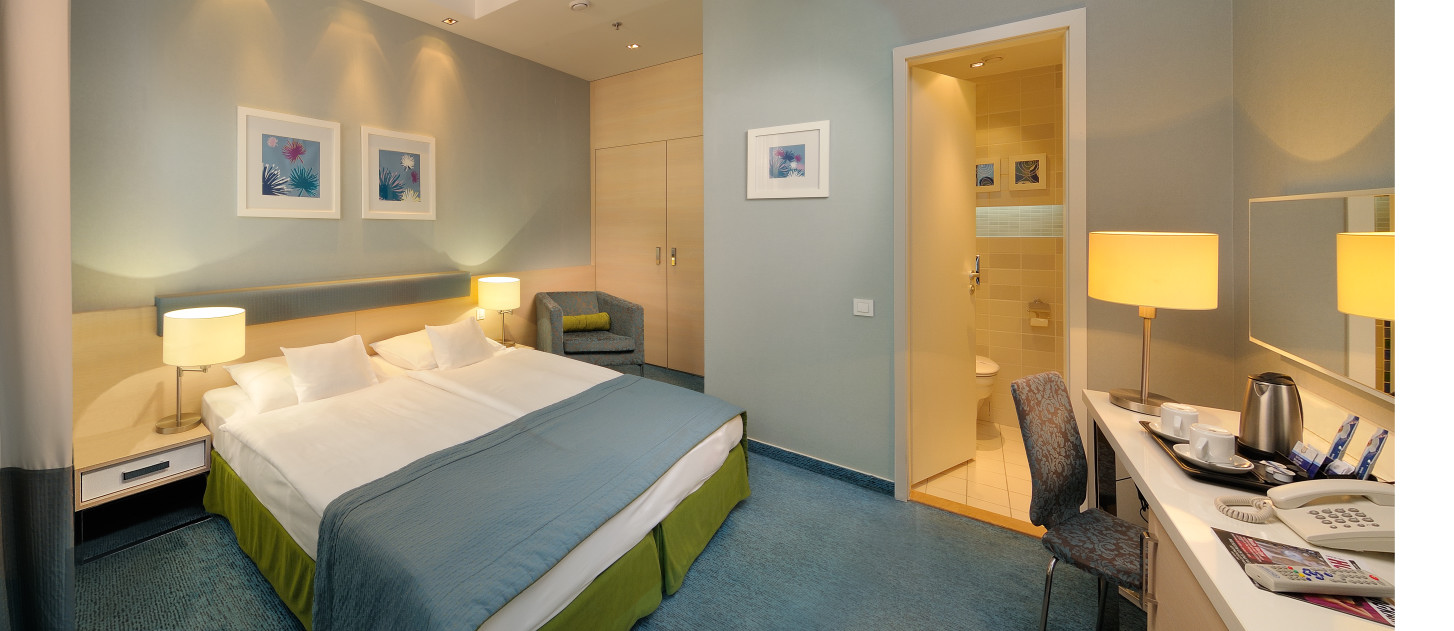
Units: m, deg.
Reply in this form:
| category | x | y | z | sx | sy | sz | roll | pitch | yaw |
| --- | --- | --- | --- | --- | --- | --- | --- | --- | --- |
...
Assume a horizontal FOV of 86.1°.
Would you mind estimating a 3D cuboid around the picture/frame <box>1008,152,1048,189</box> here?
| category | x | y | z | sx | sy | sz | roll | pitch | yaw |
| --- | --- | --- | --- | --- | --- | --- | --- | --- | --- |
| picture/frame | 3.063 | -1.467 | 7.883 | 0.485 | 0.437 | 0.071 | 1 | 1 | 27 |

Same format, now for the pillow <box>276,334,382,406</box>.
| category | x | y | z | sx | sy | sz | roll | pitch | yaw |
| --- | --- | --- | --- | --- | --- | --- | --- | --- | --- |
| pillow | -3.730 | 0.525 | 7.320 | 0.750 | 0.597 | 0.231 | -20 | -10 | -48 |

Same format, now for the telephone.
| category | x | y | z | sx | sy | sz | roll | pitch | yaw |
| --- | --- | --- | --- | --- | --- | --- | --- | --- | --- |
| telephone | 4.191 | 1.371 | 5.377 | 0.792 | 0.220 | 0.523 | 1 | 21 | 9 |

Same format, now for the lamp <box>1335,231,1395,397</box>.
| category | x | y | z | sx | sy | sz | roll | pitch | yaw |
| --- | --- | --- | --- | --- | --- | --- | --- | --- | --- |
| lamp | 4.472 | -0.263 | 5.476 | 0.302 | 0.636 | 0.156 | 3 | 11 | 41 |

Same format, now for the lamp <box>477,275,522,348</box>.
| category | x | y | z | sx | sy | sz | roll | pitch | yaw |
| --- | --- | --- | --- | --- | --- | --- | --- | --- | --- |
| lamp | -2.557 | -0.023 | 8.762 | 0.553 | 0.700 | 0.485 | -6 | 5 | -7 |

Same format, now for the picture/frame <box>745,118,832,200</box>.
| category | x | y | z | sx | sy | sz | roll | pitch | yaw |
| --- | --- | --- | --- | --- | --- | --- | --- | --- | --- |
| picture/frame | 0.573 | -1.460 | 7.421 | 0.935 | 0.648 | 0.046 | 7 | 12 | 42 |

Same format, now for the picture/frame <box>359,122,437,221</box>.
| category | x | y | z | sx | sy | sz | roll | pitch | yaw |
| --- | --- | --- | --- | --- | --- | --- | --- | --- | --- |
| picture/frame | -3.467 | -1.478 | 8.177 | 0.795 | 0.955 | 0.109 | -10 | 10 | -40 |

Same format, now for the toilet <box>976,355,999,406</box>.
| category | x | y | z | sx | sy | sz | roll | pitch | yaw |
| --- | --- | --- | --- | --- | --- | --- | --- | --- | --- |
| toilet | 2.671 | 0.699 | 7.965 | 0.218 | 0.514 | 0.550 | -1 | 8 | 20 |

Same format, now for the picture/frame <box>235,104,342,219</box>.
| category | x | y | z | sx | sy | sz | roll | pitch | yaw |
| --- | --- | --- | --- | --- | --- | --- | --- | --- | --- |
| picture/frame | -4.307 | -1.485 | 7.606 | 0.935 | 1.014 | 0.188 | -6 | 9 | -22 |

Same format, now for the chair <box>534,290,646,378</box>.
| category | x | y | z | sx | sy | sz | roll | pitch | yaw |
| --- | --- | --- | --- | --- | --- | --- | --- | --- | --- |
| chair | -1.705 | 0.194 | 9.244 | 1.340 | 0.806 | 1.190 | 0 | 9 | -13 |

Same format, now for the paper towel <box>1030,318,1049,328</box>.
| category | x | y | z | sx | sy | sz | roll | pitch | yaw |
| --- | --- | --- | --- | --- | --- | --- | --- | --- | --- |
| paper towel | 3.194 | 0.071 | 7.945 | 0.176 | 0.093 | 0.045 | -1 | 9 | 15 |

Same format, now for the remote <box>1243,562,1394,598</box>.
| category | x | y | z | sx | sy | sz | roll | pitch | yaw |
| --- | --- | --- | --- | --- | --- | --- | --- | --- | --- |
| remote | 3.978 | 1.787 | 5.234 | 0.856 | 0.072 | 0.313 | 0 | 9 | 7 |

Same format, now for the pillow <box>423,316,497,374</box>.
| category | x | y | z | sx | sy | sz | roll | pitch | yaw |
| --- | --- | --- | --- | --- | --- | --- | --- | --- | --- |
| pillow | -2.768 | 0.299 | 7.980 | 0.598 | 0.488 | 0.182 | -10 | -19 | -48 |
